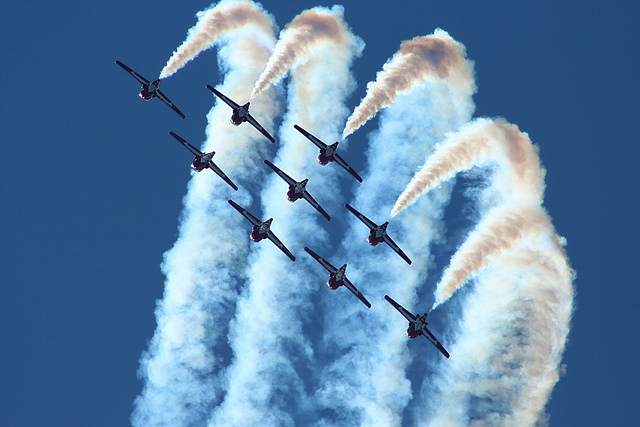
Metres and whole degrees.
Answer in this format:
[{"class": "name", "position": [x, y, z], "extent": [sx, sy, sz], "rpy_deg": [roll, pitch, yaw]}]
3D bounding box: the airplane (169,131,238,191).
[{"class": "airplane", "position": [-20.144, -10.439, 255.575], "extent": [12.184, 6.971, 3.313], "rpy_deg": [17, -25, -22]}]

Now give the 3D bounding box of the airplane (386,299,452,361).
[{"class": "airplane", "position": [17.464, 20.334, 255.289], "extent": [8.814, 10.213, 18.672], "rpy_deg": [-2, -1, 7]}]

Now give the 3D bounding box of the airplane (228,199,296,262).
[{"class": "airplane", "position": [-9.911, 1.892, 254.796], "extent": [11.913, 8.293, 3.246], "rpy_deg": [15, -24, -19]}]
